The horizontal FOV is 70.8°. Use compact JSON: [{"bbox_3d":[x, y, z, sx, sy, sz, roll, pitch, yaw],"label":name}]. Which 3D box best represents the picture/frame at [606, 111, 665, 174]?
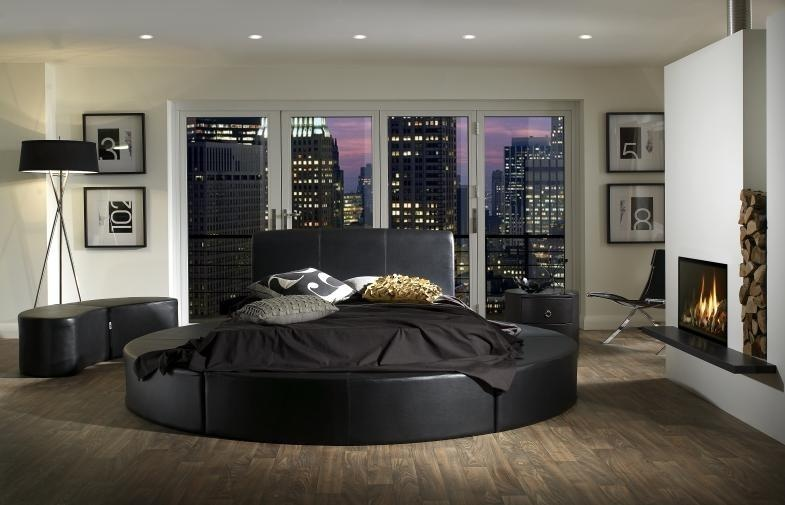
[{"bbox_3d":[2.999,-1.398,6.883,0.869,0.777,0.086,0,4,-1],"label":"picture/frame"}]

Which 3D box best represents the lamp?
[{"bbox_3d":[-3.808,-0.311,6.388,0.743,1.938,1.013,-5,9,-33],"label":"lamp"}]

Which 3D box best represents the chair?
[{"bbox_3d":[2.735,0.482,6.501,0.822,0.892,0.659,-12,-6,18],"label":"chair"}]

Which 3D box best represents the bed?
[{"bbox_3d":[-0.386,0.553,4.444,2.964,1.242,2.602,-6,9,-37],"label":"bed"}]

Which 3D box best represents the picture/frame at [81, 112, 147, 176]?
[{"bbox_3d":[-3.390,-1.348,6.687,0.859,0.833,0.039,0,2,-4],"label":"picture/frame"}]

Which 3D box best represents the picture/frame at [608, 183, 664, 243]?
[{"bbox_3d":[3.021,-0.524,6.916,0.766,0.743,0.051,0,-1,-1],"label":"picture/frame"}]

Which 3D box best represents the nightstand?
[{"bbox_3d":[1.725,0.732,6.299,0.886,0.555,0.907,-1,0,30],"label":"nightstand"}]

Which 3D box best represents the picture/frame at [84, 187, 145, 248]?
[{"bbox_3d":[-3.466,-0.440,6.815,0.766,0.743,0.050,-1,4,-2],"label":"picture/frame"}]
